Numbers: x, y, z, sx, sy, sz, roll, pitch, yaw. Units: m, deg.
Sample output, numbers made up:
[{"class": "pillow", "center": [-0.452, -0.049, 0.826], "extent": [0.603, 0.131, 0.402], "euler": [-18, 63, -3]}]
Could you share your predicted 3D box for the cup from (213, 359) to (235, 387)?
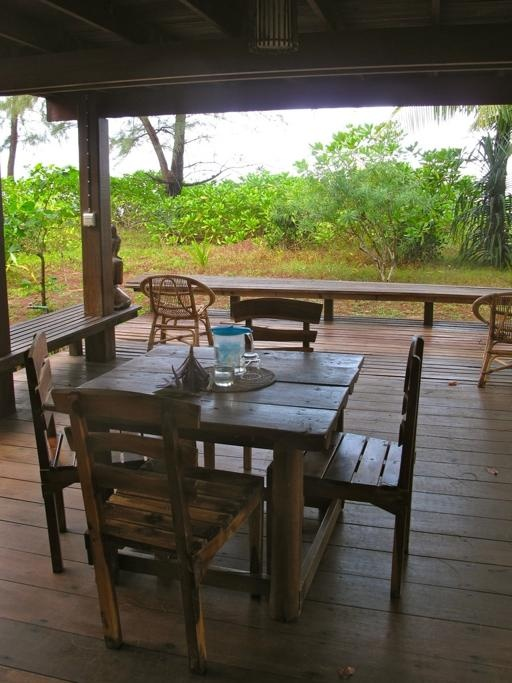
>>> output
[{"class": "cup", "center": [-0.110, 0.116, 2.005], "extent": [0.080, 0.079, 0.077], "euler": [0, 3, 0]}]

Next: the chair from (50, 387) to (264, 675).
[{"class": "chair", "center": [-0.231, 0.449, 1.600], "extent": [0.418, 0.790, 0.552], "euler": [2, 12, 9]}]

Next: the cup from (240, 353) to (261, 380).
[{"class": "cup", "center": [-0.029, 0.090, 2.206], "extent": [0.079, 0.079, 0.086], "euler": [0, 5, 0]}]

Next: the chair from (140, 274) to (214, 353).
[{"class": "chair", "center": [-0.716, -0.253, 5.181], "extent": [0.743, 0.809, 0.596], "euler": [3, 31, 4]}]

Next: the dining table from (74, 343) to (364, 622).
[{"class": "dining table", "center": [-0.021, 0.339, 2.080], "extent": [0.807, 0.568, 0.937], "euler": [3, 12, 14]}]
